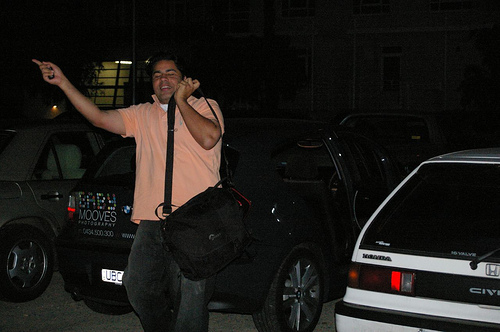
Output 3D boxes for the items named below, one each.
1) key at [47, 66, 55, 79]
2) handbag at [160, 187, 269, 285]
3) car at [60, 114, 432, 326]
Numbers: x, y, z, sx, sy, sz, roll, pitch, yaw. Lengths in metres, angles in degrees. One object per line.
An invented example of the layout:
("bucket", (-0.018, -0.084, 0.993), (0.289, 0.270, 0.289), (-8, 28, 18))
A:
("key", (-1.384, -0.641, 2.773), (0.043, 0.063, 0.016), (-6, 9, 3))
("handbag", (-0.208, 0.411, 2.685), (0.693, 0.472, 0.380), (-33, 5, 23))
("car", (0.193, 0.557, 4.468), (2.238, 1.551, 3.828), (3, 8, 39))
